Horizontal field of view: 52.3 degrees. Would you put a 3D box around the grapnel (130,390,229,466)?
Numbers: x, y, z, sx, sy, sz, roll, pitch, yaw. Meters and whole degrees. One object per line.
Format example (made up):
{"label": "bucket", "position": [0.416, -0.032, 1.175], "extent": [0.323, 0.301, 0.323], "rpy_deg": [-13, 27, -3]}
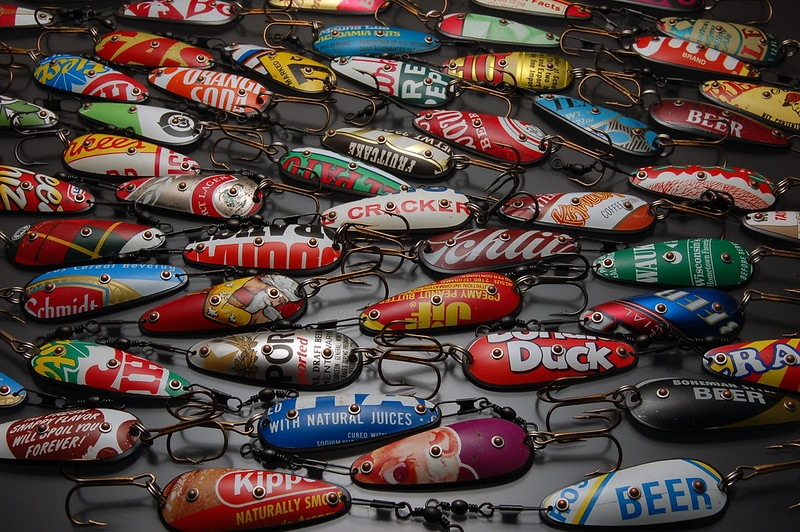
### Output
{"label": "grapnel", "position": [-0.777, 0.571, 2.918], "extent": [0.359, 0.258, 0.171], "rpy_deg": [-2, 8, -6]}

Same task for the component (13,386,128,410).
{"label": "component", "position": [-1.186, 0.481, 2.958], "extent": [0.399, 0.047, 0.061], "rpy_deg": [2, 43, 12]}

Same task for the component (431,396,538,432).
{"label": "component", "position": [0.305, 0.536, 2.944], "extent": [0.366, 0.116, 0.070], "rpy_deg": [0, 8, 8]}

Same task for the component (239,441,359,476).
{"label": "component", "position": [-0.346, 0.680, 2.871], "extent": [0.321, 0.041, 0.059], "rpy_deg": [11, 18, -1]}

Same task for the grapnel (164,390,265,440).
{"label": "grapnel", "position": [-0.671, 0.520, 2.931], "extent": [0.312, 0.041, 0.178], "rpy_deg": [10, 8, 26]}

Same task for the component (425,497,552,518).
{"label": "component", "position": [0.292, 0.838, 2.824], "extent": [0.290, 0.029, 0.046], "rpy_deg": [5, 20, 2]}

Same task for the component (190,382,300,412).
{"label": "component", "position": [-0.567, 0.483, 2.944], "extent": [0.460, 0.063, 0.124], "rpy_deg": [4, 41, 2]}
